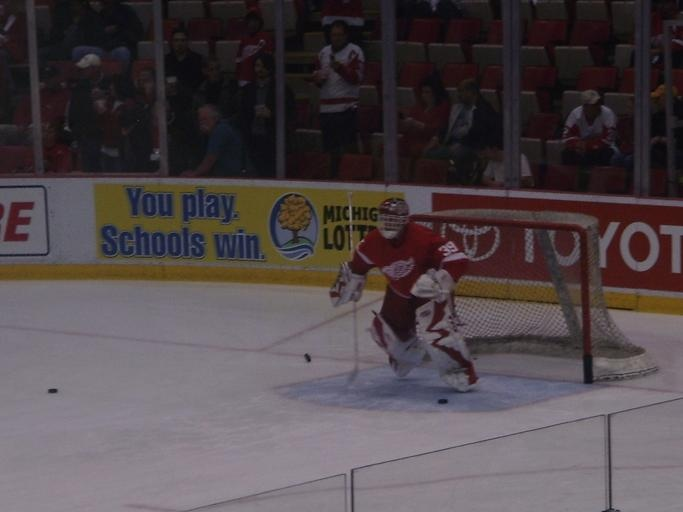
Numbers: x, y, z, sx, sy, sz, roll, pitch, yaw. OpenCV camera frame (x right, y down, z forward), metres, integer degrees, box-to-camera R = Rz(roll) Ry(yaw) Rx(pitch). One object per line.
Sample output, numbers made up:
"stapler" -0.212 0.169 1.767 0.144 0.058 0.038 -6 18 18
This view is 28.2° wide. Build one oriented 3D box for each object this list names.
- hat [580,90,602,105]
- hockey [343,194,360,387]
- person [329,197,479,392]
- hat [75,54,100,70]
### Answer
"hat" 2.465 -1.543 13.362 0.188 0.142 0.092 -1 7 8
"hockey" 0.118 0.256 12.219 0.226 1.417 0.204 -1 14 0
"person" 0.532 0.323 11.458 1.276 1.734 0.981 1 8 10
"hat" -2.815 -2.156 15.186 0.229 0.113 0.145 -10 16 -4
